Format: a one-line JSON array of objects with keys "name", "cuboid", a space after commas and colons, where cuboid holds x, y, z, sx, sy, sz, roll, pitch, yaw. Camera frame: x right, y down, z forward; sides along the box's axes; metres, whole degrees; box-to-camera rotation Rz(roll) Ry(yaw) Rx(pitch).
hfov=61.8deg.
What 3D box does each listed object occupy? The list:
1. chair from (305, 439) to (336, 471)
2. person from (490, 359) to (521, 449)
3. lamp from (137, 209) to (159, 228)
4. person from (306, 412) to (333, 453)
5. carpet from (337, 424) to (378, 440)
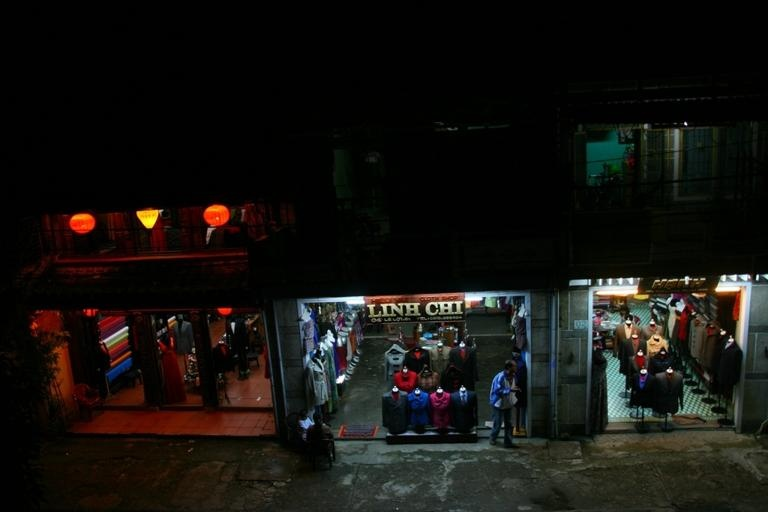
[{"name": "chair", "cuboid": [-1.635, 5.189, 17.047, 0.739, 1.145, 0.814, 1, 28, 4]}, {"name": "person", "cuboid": [3.247, 4.053, 17.386, 0.737, 2.313, 0.587, -1, 3, 11]}, {"name": "lamp", "cuboid": [-6.877, -1.071, 18.660, 0.637, 0.484, 0.665, 1, 0, -2]}, {"name": "person", "cuboid": [-1.692, 4.775, 17.100, 0.681, 1.170, 0.718, 0, 5, 22]}, {"name": "carpet", "cuboid": [-0.736, 5.022, 18.106, 1.084, 0.286, 0.584, -2, 1, 5]}]
